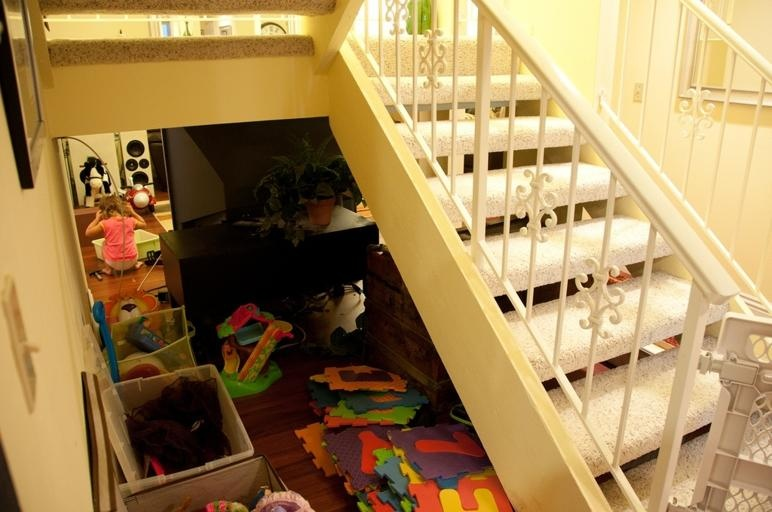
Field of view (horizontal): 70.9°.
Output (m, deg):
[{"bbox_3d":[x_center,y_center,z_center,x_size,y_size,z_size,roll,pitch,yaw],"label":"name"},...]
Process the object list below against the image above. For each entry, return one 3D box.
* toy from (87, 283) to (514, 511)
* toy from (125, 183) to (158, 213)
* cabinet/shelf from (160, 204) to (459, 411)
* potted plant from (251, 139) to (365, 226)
[{"bbox_3d":[-0.471,0.833,2.674,1.853,0.784,0.948,-7,16,2],"label":"toy"},{"bbox_3d":[-3.105,-0.715,6.877,0.296,0.243,0.485,-10,31,-27],"label":"toy"},{"bbox_3d":[-0.447,0.787,4.221,2.048,1.887,1.085,-18,35,-27],"label":"cabinet/shelf"},{"bbox_3d":[-0.454,-0.492,3.738,0.694,0.501,0.700,-4,-9,12],"label":"potted plant"}]
